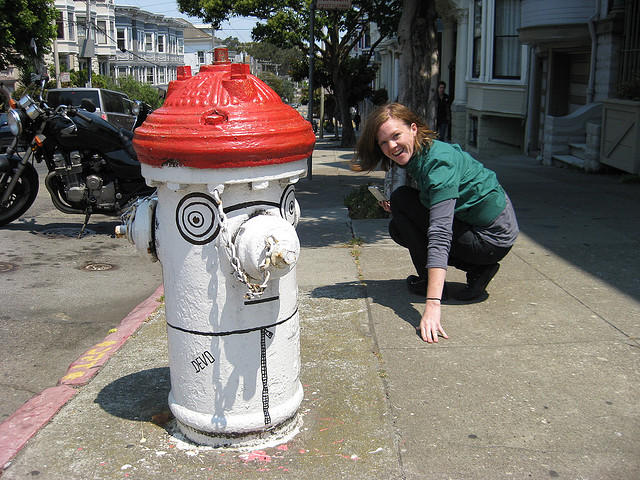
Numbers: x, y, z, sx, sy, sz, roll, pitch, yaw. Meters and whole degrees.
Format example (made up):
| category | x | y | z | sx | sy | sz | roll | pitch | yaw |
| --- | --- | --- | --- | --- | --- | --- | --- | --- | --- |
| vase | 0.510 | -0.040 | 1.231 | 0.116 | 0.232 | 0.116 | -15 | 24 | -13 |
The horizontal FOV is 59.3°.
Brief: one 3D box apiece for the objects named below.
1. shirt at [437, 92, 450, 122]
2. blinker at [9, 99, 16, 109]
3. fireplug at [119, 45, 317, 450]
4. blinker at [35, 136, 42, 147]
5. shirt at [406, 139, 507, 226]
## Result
| category | x | y | z | sx | sy | sz | roll | pitch | yaw |
| --- | --- | --- | --- | --- | --- | --- | --- | --- | --- |
| shirt | 3.098 | -3.256 | 14.071 | 0.244 | 0.657 | 0.663 | 5 | 17 | 13 |
| blinker | -4.128 | -1.807 | 7.533 | 0.055 | 0.120 | 0.132 | -11 | 20 | -36 |
| fireplug | -0.533 | 0.054 | 3.087 | 0.941 | 2.129 | 0.616 | 2 | 17 | 1 |
| blinker | -3.752 | -1.302 | 7.508 | 0.047 | 0.142 | 0.058 | -15 | 8 | -8 |
| shirt | 1.067 | -0.460 | 4.569 | 0.718 | 0.771 | 0.633 | -16 | 24 | -21 |
